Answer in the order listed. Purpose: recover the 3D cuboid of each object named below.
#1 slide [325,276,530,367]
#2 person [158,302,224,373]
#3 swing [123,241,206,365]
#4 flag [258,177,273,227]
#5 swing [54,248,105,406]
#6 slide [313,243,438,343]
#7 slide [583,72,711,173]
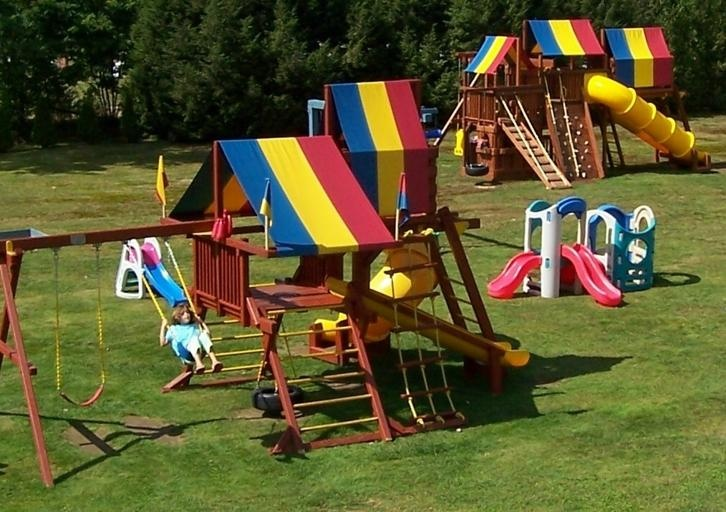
[{"bbox_3d":[1.068,1.064,12.610,2.889,1.501,0.883,-4,6,-4],"label":"slide"},{"bbox_3d":[-2.524,1.376,11.656,0.687,0.529,1.256,-17,46,-26],"label":"person"},{"bbox_3d":[-4.067,0.489,16.394,1.340,3.010,1.448,-11,20,-29],"label":"swing"},{"bbox_3d":[-1.293,-0.647,10.873,0.158,0.850,0.124,4,26,-7],"label":"flag"},{"bbox_3d":[-4.393,1.113,12.392,0.778,2.730,0.258,-8,21,-34],"label":"swing"},{"bbox_3d":[0.459,0.893,13.818,1.935,1.878,1.693,-11,16,-29],"label":"slide"},{"bbox_3d":[9.354,-4.446,26.986,3.537,3.430,1.159,-5,6,-6],"label":"slide"}]
